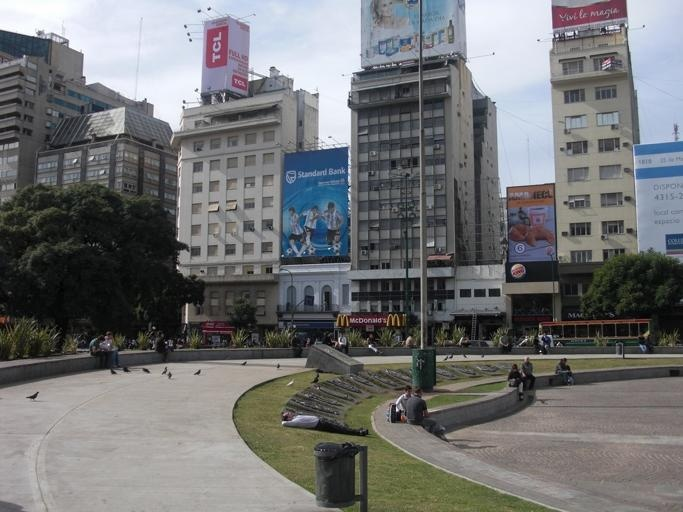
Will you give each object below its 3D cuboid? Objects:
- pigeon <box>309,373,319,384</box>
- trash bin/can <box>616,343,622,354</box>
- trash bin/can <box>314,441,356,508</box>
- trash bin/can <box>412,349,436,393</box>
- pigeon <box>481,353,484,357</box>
[{"bbox_3d":[-1.531,7.004,53.256,0.207,0.418,0.511,16,-34,-37],"label":"pigeon"},{"bbox_3d":[20.142,6.792,68.175,0.374,0.826,1.680,-3,-6,7],"label":"trash bin/can"},{"bbox_3d":[-0.586,8.860,38.764,2.184,2.538,1.987,1,-4,-6],"label":"trash bin/can"},{"bbox_3d":[4.585,6.462,52.684,1.221,2.439,1.083,-2,-5,-4],"label":"trash bin/can"},{"bbox_3d":[10.535,7.565,70.440,0.157,0.173,0.093,3,-26,4],"label":"pigeon"}]
